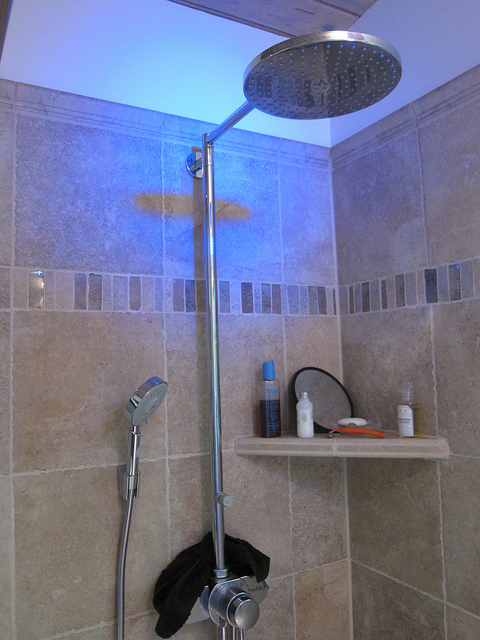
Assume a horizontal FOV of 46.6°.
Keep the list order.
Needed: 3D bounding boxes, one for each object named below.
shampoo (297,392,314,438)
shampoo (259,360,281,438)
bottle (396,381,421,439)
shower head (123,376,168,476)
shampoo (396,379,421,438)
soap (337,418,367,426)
[{"bbox_3d":[0.152,0.219,1.303,0.037,0.102,0.082,-2,-4,8],"label":"shampoo"},{"bbox_3d":[0.069,0.186,1.301,0.044,0.175,0.029,-2,-4,-1],"label":"shampoo"},{"bbox_3d":[0.375,0.197,1.242,0.048,0.116,0.147,-3,-4,17],"label":"bottle"},{"bbox_3d":[-0.176,0.208,1.099,0.065,0.186,0.105,2,1,-9],"label":"shower head"},{"bbox_3d":[0.365,0.191,1.206,0.052,0.125,0.055,-8,-7,40],"label":"shampoo"},{"bbox_3d":[0.266,0.239,1.304,0.072,0.019,0.050,-3,-5,-1],"label":"soap"}]
